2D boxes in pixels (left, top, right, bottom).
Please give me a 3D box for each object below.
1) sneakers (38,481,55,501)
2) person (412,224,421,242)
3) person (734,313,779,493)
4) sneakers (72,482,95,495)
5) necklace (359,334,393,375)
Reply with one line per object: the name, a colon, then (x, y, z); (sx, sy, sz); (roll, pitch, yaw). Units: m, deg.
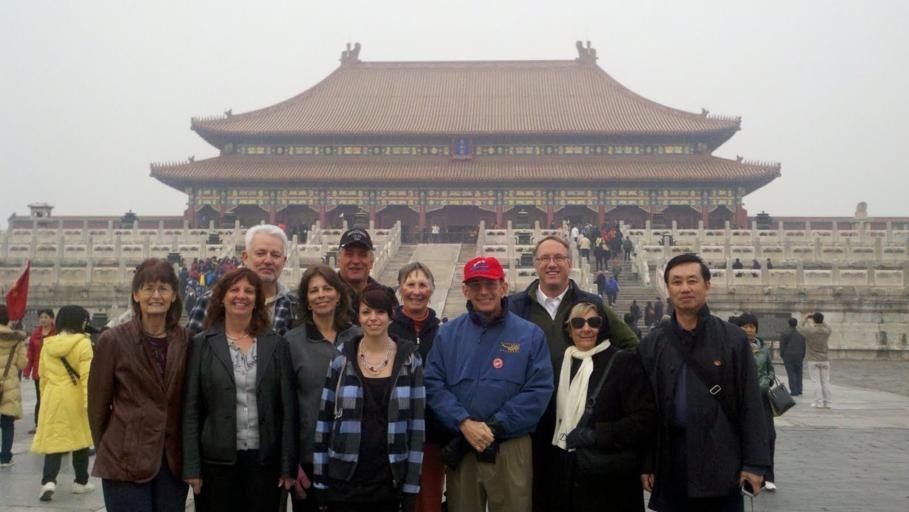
sneakers: (-8.935, 5.176, 25.596); (0.289, 0.400, 0.187); (4, -11, -20)
person: (-1.747, -1.031, 53.932); (0.407, 0.914, 0.985); (1, -10, -4)
person: (6.529, 3.226, 25.999); (1.400, 3.776, 1.184); (-2, -11, 17)
sneakers: (-8.205, 5.159, 25.806); (0.524, 0.203, 0.199); (0, 9, -12)
necklace: (-1.623, 2.132, 24.401); (0.674, 0.738, 0.389); (-5, -5, 1)
